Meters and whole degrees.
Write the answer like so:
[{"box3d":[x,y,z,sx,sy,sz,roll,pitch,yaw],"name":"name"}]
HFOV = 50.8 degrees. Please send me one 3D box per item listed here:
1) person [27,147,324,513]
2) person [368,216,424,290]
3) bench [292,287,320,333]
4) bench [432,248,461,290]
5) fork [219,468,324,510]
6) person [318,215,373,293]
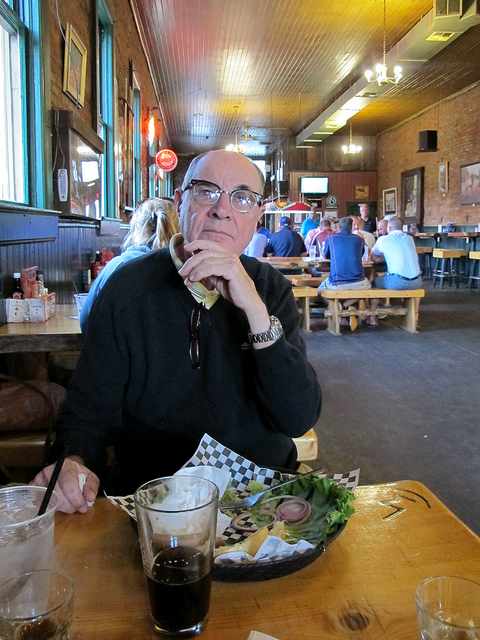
[{"box3d":[-0.128,0.145,1.223,0.636,1.063,0.551,-2,23,-17],"name":"person"},{"box3d":[2.115,-0.913,6.850,0.724,0.967,0.768,5,17,40],"name":"person"},{"box3d":[0.803,-0.155,6.944,0.467,0.595,0.852,0,5,5],"name":"bench"},{"box3d":[4.676,-1.150,11.338,0.553,0.769,0.556,8,4,31],"name":"bench"},{"box3d":[0.050,0.277,0.820,0.210,0.029,0.031,-10,-3,-24],"name":"fork"},{"box3d":[1.603,-0.922,6.746,0.702,0.929,0.537,0,11,38],"name":"person"}]
